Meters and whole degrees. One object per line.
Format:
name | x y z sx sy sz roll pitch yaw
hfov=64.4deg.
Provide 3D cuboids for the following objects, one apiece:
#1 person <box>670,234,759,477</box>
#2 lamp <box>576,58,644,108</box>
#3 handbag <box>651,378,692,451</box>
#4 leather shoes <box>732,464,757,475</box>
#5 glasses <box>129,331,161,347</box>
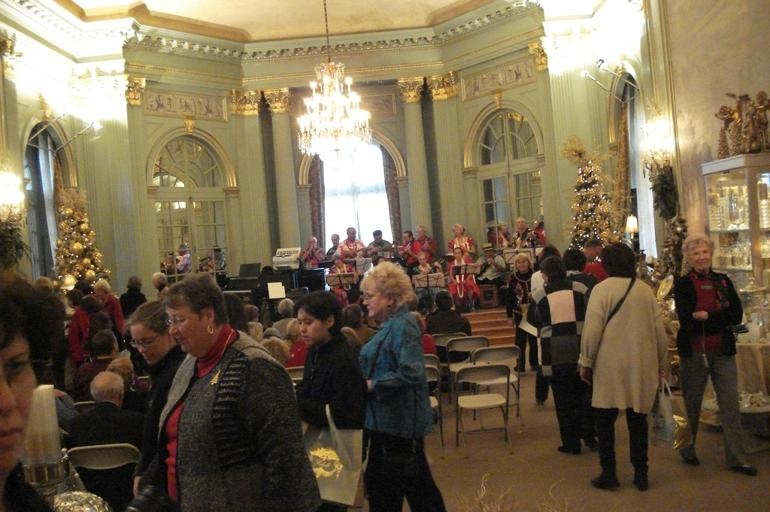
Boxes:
person | 2.801 0.837 5.242 0.528 1.530 0.335 -5 1 20
lamp | 4.643 -3.621 12.493 0.656 0.754 1.318 -6 1 -15
handbag | 2.363 1.325 5.085 0.185 0.482 0.542 -5 1 37
leather shoes | 3.037 1.801 5.166 0.167 0.045 0.098 -3 -1 35
glasses | -1.398 0.486 3.586 0.214 0.065 0.213 -2 -4 6
